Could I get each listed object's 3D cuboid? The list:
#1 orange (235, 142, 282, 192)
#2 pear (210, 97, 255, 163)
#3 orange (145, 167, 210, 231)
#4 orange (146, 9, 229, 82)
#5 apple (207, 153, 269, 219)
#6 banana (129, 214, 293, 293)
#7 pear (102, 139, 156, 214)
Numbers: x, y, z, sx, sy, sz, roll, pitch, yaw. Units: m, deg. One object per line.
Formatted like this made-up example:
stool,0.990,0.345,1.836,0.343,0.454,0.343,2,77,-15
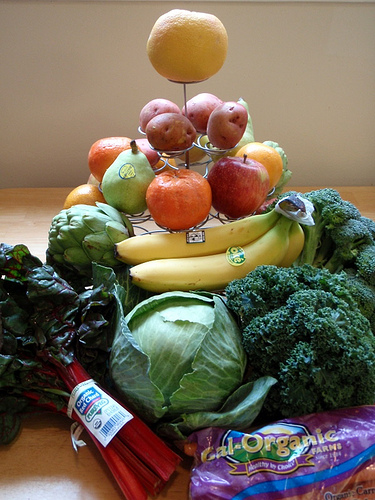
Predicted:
orange,0.150,-0.178,0.945,0.102,0.092,0.104,9,28,15
pear,0.122,-0.332,1.078,0.139,0.125,0.119,7,52,-9
orange,-0.015,-0.090,0.829,0.128,0.107,0.113,-5,26,-5
orange,-0.008,-0.397,0.844,0.157,0.125,0.151,-15,35,-23
apple,0.089,-0.132,0.869,0.140,0.106,0.126,1,32,-10
banana,0.046,0.010,0.794,0.288,0.113,0.062,-8,45,-10
pear,-0.110,-0.148,0.872,0.124,0.143,0.115,15,25,9
